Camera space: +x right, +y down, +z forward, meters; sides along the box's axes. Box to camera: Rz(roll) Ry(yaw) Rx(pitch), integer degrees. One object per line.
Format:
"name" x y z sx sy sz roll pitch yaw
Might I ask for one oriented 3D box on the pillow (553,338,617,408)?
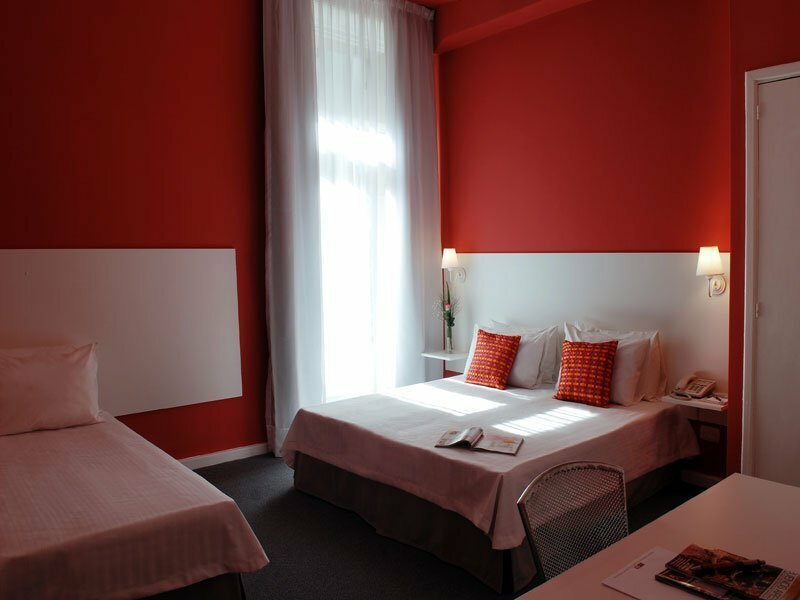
"pillow" 1.448 0.576 4.443 0.168 0.469 0.396 30 -21 -36

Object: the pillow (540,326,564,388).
"pillow" 1.328 0.489 5.027 0.107 0.420 0.387 6 -14 -18

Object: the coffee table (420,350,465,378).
"coffee table" 0.469 0.683 6.069 0.313 0.339 0.305 -5 10 -43

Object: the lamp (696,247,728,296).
"lamp" 2.295 -0.205 4.243 0.210 0.380 0.216 1 9 16

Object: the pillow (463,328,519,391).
"pillow" 0.799 0.526 5.014 0.137 0.463 0.442 23 -8 -39

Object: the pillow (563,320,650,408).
"pillow" 1.720 0.512 4.475 0.542 0.601 0.168 13 -2 38

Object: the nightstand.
"nightstand" 2.344 1.045 4.275 0.250 0.584 0.415 -10 1 -20

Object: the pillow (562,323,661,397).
"pillow" 1.491 0.442 4.550 0.513 0.156 0.588 11 24 35

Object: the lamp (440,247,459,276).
"lamp" 0.526 -0.404 6.053 0.209 0.272 0.206 -15 20 -38

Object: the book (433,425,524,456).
"book" 0.516 0.868 3.662 0.529 0.085 0.427 1 10 18
